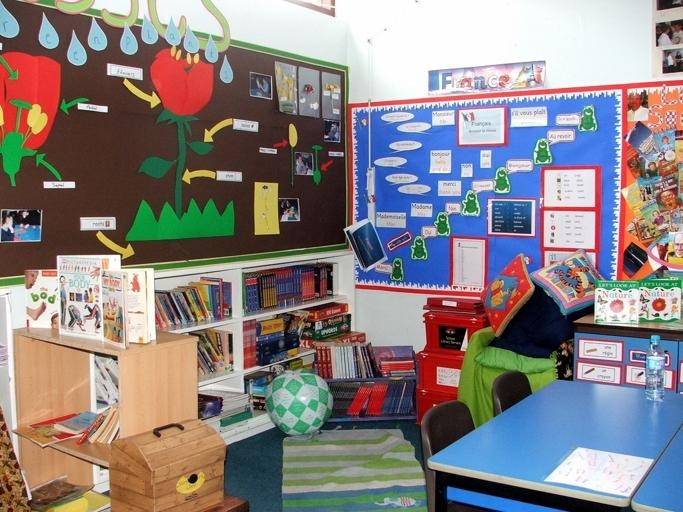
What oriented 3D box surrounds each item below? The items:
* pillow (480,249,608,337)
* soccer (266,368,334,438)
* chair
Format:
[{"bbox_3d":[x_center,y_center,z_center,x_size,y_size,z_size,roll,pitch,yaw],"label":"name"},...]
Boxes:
[{"bbox_3d":[1.617,0.353,4.046,0.726,0.688,0.270,-23,-43,24],"label":"pillow"},{"bbox_3d":[-0.340,1.178,4.298,0.500,0.406,0.496,-3,14,2],"label":"soccer"},{"bbox_3d":[0.663,0.884,2.449,0.277,0.393,0.886,-6,-2,40],"label":"chair"}]
